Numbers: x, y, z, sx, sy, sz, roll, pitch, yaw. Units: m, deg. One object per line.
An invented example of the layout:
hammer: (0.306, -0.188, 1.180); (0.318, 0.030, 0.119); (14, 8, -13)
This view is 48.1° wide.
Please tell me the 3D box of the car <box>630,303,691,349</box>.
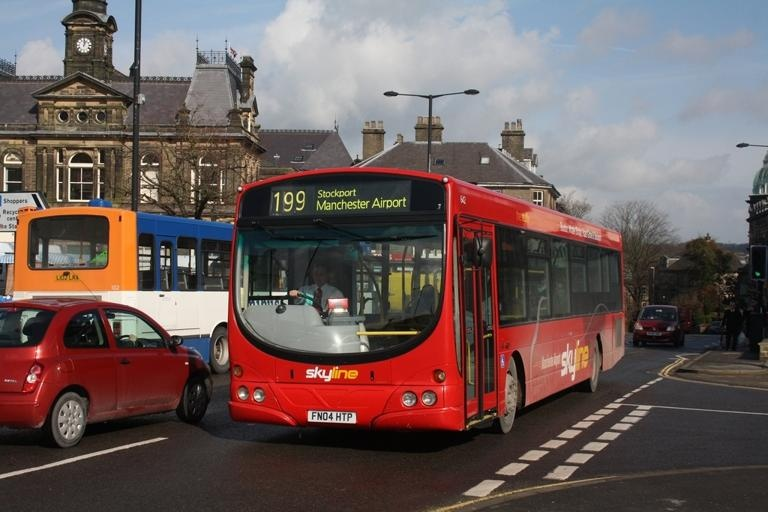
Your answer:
car: (13.630, 3.478, 42.743); (1.574, 1.359, 3.150); (-3, -13, 21)

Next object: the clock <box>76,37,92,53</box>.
clock: (-22.036, -15.526, 63.529); (1.036, 1.122, 0.119); (2, 1, -1)
